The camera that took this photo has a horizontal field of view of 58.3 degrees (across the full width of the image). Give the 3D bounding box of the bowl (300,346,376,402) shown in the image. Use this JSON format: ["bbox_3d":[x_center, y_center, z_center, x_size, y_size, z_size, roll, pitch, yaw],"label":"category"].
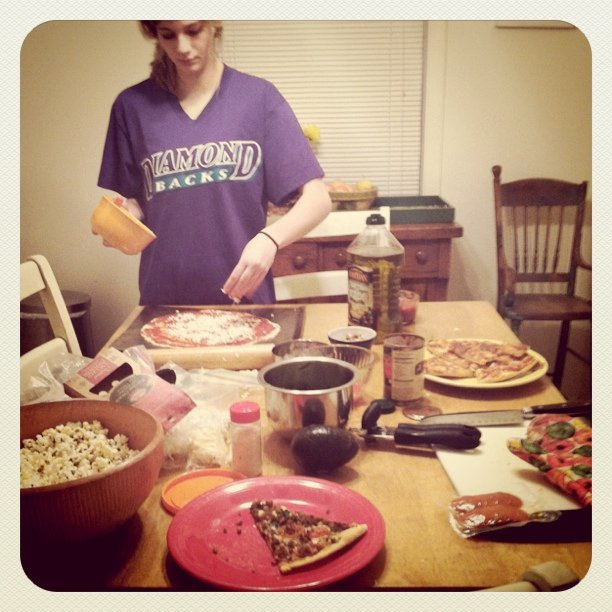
[{"bbox_3d":[0.055,0.095,0.869,0.099,0.055,0.093,0,8,0],"label":"bowl"}]

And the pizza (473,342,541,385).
[{"bbox_3d":[0.336,0.098,0.927,0.076,0.011,0.072,-7,17,15],"label":"pizza"}]

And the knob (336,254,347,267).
[{"bbox_3d":[0.121,-0.161,1.908,0.033,0.051,0.068,0,14,3],"label":"knob"}]

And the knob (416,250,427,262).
[{"bbox_3d":[0.404,-0.178,1.932,0.027,0.035,0.040,10,17,35],"label":"knob"}]

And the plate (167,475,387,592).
[{"bbox_3d":[-0.031,0.249,0.605,0.228,0.059,0.147,0,13,0],"label":"plate"}]

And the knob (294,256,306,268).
[{"bbox_3d":[-0.024,-0.156,1.938,0.040,0.041,0.011,-1,15,-1],"label":"knob"}]

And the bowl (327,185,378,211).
[{"bbox_3d":[0.178,-0.366,1.858,0.191,0.078,0.069,-6,15,-24],"label":"bowl"}]

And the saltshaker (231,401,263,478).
[{"bbox_3d":[-0.074,0.166,0.686,0.041,0.082,0.040,7,19,9],"label":"saltshaker"}]

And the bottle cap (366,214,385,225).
[{"bbox_3d":[0.140,-0.171,1.092,0.026,0.013,0.025,0,3,-1],"label":"bottle cap"}]
